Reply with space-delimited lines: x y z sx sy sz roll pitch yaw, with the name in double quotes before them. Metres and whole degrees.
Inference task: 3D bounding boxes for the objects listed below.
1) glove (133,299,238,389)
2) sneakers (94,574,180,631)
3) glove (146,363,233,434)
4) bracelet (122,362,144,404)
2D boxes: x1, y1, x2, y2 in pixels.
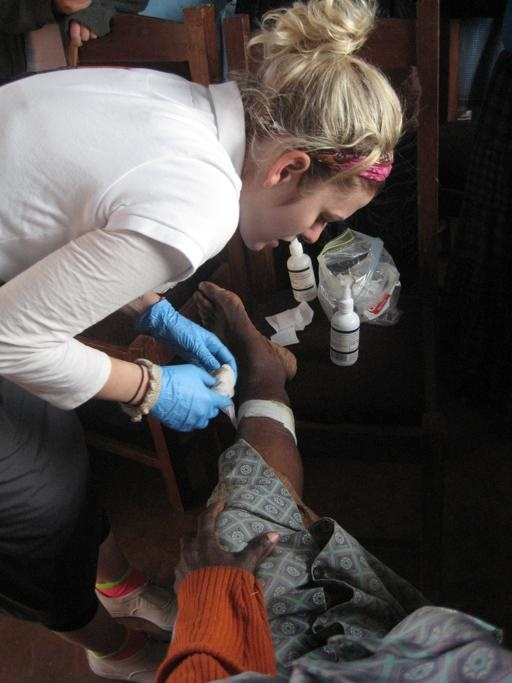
"glove" -0.141 0.002 1.403 0.250 0.141 0.087 34 92 -19
"sneakers" -0.317 0.622 1.447 0.266 0.096 0.099 20 49 -16
"glove" -0.123 0.108 1.170 0.102 0.172 0.076 -30 71 15
"bracelet" -0.196 0.073 1.015 0.017 0.064 0.057 11 73 -6
